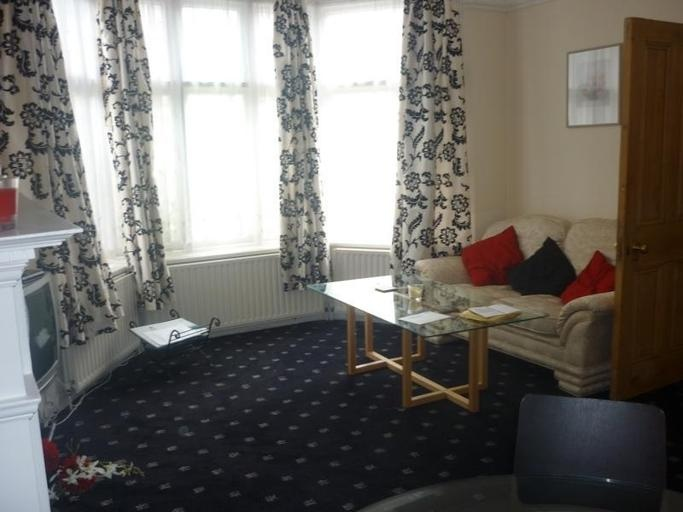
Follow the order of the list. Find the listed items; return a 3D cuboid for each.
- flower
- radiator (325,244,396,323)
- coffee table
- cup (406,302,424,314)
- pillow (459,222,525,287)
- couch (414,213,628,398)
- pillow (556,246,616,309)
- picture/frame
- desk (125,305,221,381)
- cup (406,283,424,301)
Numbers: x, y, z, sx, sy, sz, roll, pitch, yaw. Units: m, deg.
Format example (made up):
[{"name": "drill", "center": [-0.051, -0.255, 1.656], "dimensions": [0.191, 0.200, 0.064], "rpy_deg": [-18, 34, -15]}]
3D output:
[{"name": "flower", "center": [-1.298, 1.112, 2.860], "dimensions": [0.479, 0.248, 0.253], "rpy_deg": [1, -39, -36]}, {"name": "radiator", "center": [0.174, 0.184, 4.557], "dimensions": [0.841, 0.811, 0.140], "rpy_deg": [0, 0, 10]}, {"name": "coffee table", "center": [0.547, 0.280, 3.764], "dimensions": [0.931, 0.520, 1.480], "rpy_deg": [-5, 10, -30]}, {"name": "cup", "center": [0.482, 0.340, 3.505], "dimensions": [0.069, 0.069, 0.074], "rpy_deg": [-3, 5, 0]}, {"name": "pillow", "center": [1.329, 0.098, 4.802], "dimensions": [0.637, 0.160, 0.628], "rpy_deg": [0, 50, 27]}, {"name": "couch", "center": [1.658, 0.272, 4.601], "dimensions": [1.110, 1.073, 2.016], "rpy_deg": [-10, 10, -24]}, {"name": "pillow", "center": [1.907, 0.187, 4.304], "dimensions": [0.139, 0.452, 0.509], "rpy_deg": [34, 20, 28]}, {"name": "picture/frame", "center": [2.153, -1.441, 4.570], "dimensions": [0.120, 0.639, 0.531], "rpy_deg": [-7, 15, -17]}, {"name": "desk", "center": [-1.254, 0.748, 4.367], "dimensions": [0.581, 0.333, 0.558], "rpy_deg": [-12, -2, 32]}, {"name": "cup", "center": [0.508, 0.247, 3.655], "dimensions": [0.098, 0.111, 0.136], "rpy_deg": [0, 14, 10]}]
